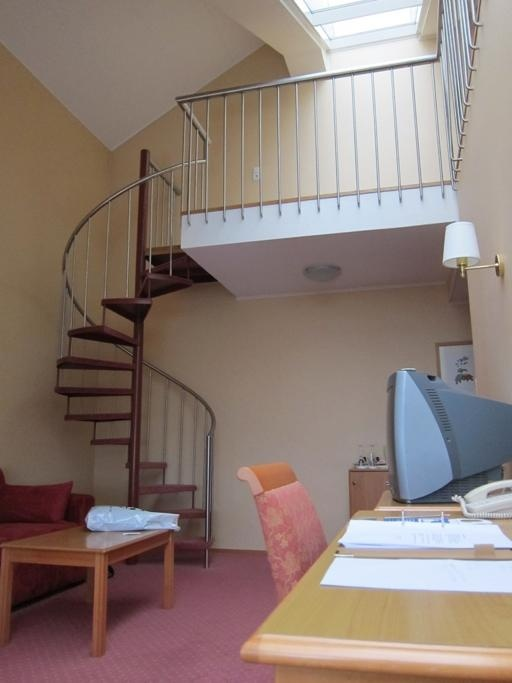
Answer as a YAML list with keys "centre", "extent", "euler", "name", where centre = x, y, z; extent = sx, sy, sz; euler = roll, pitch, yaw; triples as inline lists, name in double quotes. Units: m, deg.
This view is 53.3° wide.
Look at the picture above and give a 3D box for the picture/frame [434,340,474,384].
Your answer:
- centre: [1.761, 0.187, 4.478]
  extent: [0.352, 0.472, 0.044]
  euler: [1, -7, 8]
  name: "picture/frame"
